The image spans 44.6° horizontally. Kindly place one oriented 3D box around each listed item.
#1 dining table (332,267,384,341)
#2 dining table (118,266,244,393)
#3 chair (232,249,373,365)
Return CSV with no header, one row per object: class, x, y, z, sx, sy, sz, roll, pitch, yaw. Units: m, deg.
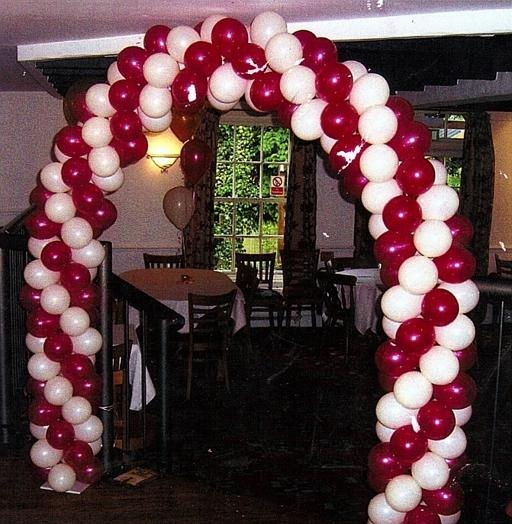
dining table,1.024,0.359,5.729,0.557,0.683,0.595,-1,10,12
dining table,-0.506,0.486,4.331,0.837,0.282,1.289,-1,8,-10
chair,0.344,0.654,6.240,1.612,1.108,0.939,-1,10,-11
